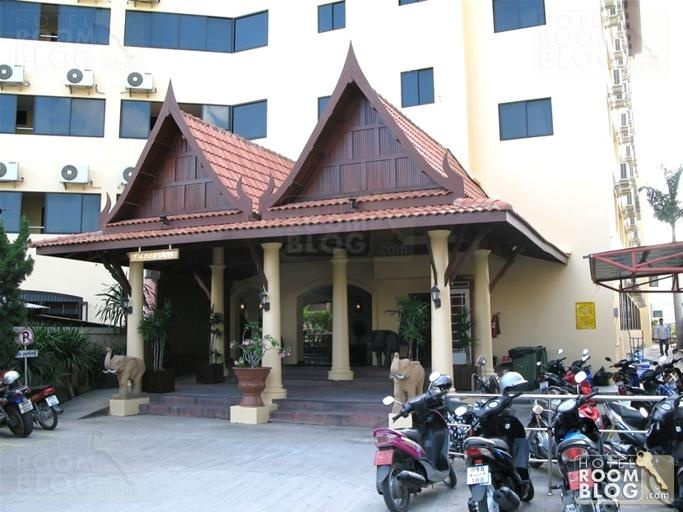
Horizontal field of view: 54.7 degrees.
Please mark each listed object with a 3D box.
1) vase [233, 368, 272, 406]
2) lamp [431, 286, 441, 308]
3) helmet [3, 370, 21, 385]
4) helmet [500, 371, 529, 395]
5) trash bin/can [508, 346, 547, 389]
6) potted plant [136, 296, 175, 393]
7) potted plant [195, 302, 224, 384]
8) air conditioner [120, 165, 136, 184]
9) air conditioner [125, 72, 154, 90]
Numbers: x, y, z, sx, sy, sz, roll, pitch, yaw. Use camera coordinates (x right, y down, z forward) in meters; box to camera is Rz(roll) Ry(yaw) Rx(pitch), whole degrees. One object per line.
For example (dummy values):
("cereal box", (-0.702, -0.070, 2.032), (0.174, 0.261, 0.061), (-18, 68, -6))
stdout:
("vase", (-2.270, 3.225, 16.217), (0.874, 0.766, 0.904), (1, -12, -4))
("lamp", (2.213, 0.998, 15.548), (0.222, 0.519, 0.108), (-1, -5, 16))
("helmet", (-7.573, 2.799, 15.135), (0.297, 0.289, 0.234), (-20, -3, -3))
("helmet", (2.748, 2.052, 10.692), (0.468, 0.426, 0.389), (8, -13, 23))
("trash bin/can", (5.423, 3.285, 19.183), (1.054, 1.512, 1.081), (1, -13, -4))
("potted plant", (-5.501, 2.694, 19.756), (0.940, 2.540, 3.373), (2, -5, -14))
("potted plant", (-3.981, 2.804, 20.461), (0.816, 2.365, 1.054), (3, -6, -25))
("air conditioner", (-8.635, -3.241, 26.487), (0.435, 0.762, 0.395), (1, -5, -12))
("air conditioner", (-8.308, -7.146, 27.082), (1.166, 0.946, 0.664), (0, -10, -7))
